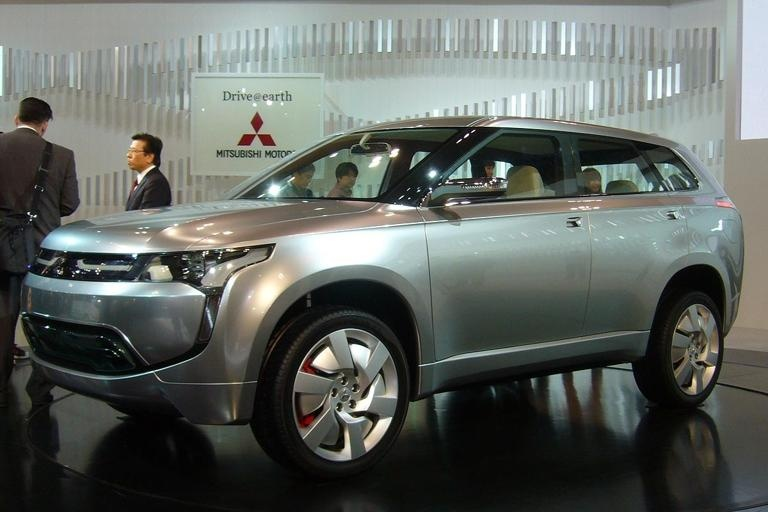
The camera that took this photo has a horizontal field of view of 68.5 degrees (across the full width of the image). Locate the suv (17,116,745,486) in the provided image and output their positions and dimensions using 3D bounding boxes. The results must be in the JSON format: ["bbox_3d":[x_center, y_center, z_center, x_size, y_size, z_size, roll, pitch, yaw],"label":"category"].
[{"bbox_3d":[0.102,0.160,3.916,3.823,1.738,2.351,2,-3,-30],"label":"suv"}]

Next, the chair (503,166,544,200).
[{"bbox_3d":[1.014,-0.557,3.972,0.204,0.207,0.181,-2,-1,-44],"label":"chair"}]

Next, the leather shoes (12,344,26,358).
[{"bbox_3d":[-3.873,1.017,6.009,0.123,0.140,0.130,1,-7,-5],"label":"leather shoes"}]
